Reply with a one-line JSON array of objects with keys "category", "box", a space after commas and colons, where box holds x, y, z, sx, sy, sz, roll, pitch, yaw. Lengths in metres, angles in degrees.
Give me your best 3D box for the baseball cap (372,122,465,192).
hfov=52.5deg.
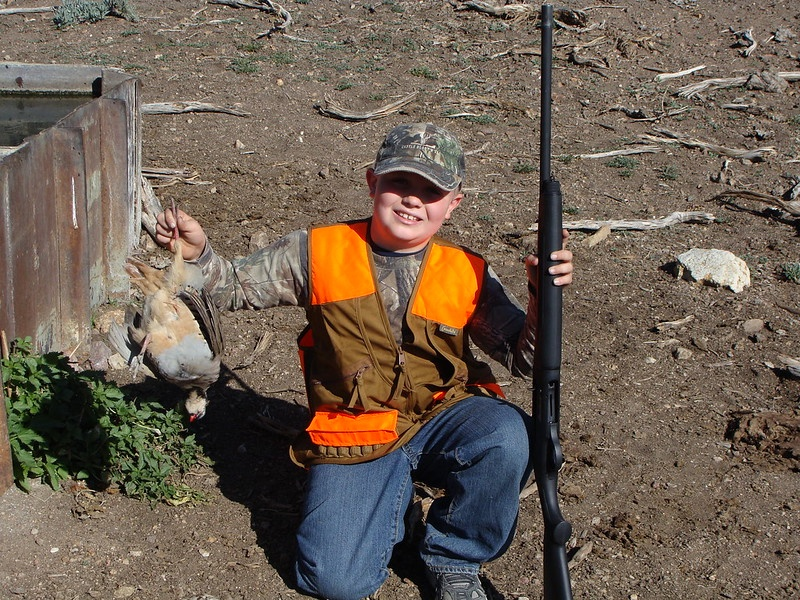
[{"category": "baseball cap", "box": [0.113, -0.807, 4.366, 0.482, 0.293, 0.625, 7, 14, -6]}]
